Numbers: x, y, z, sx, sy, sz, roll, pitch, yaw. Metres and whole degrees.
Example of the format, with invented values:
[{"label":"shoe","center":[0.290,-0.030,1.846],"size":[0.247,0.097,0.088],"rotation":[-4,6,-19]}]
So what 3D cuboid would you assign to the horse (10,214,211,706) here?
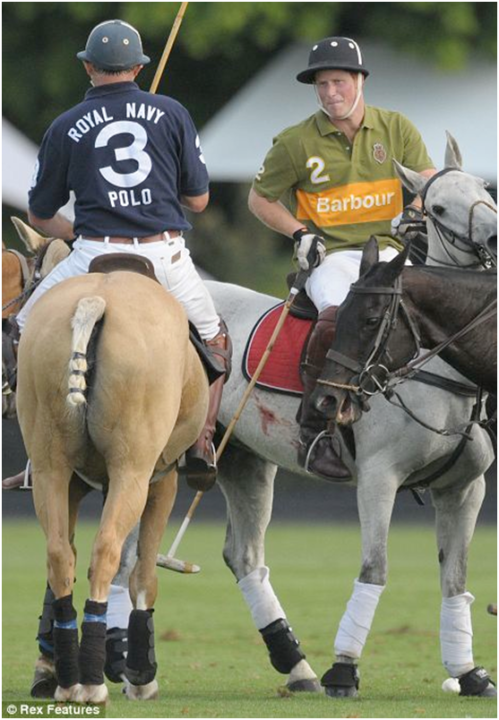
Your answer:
[{"label":"horse","center":[-0.615,0.584,4.815],"size":[0.626,1.857,0.935],"rotation":[6,7,9]}]

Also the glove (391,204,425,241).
[{"label":"glove","center":[0.751,-0.638,5.793],"size":[0.165,0.153,0.074],"rotation":[15,14,25]}]

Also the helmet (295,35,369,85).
[{"label":"helmet","center":[0.418,-1.494,6.063],"size":[0.320,0.174,0.393],"rotation":[4,6,34]}]

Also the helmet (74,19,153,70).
[{"label":"helmet","center":[-0.576,-1.333,5.211],"size":[0.274,0.178,0.338],"rotation":[-1,30,-9]}]
